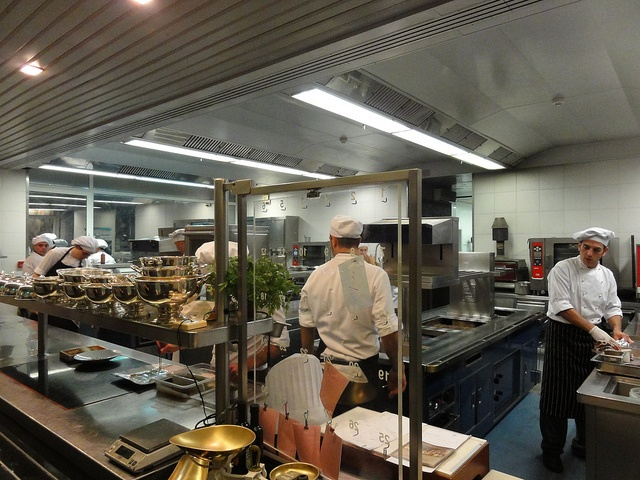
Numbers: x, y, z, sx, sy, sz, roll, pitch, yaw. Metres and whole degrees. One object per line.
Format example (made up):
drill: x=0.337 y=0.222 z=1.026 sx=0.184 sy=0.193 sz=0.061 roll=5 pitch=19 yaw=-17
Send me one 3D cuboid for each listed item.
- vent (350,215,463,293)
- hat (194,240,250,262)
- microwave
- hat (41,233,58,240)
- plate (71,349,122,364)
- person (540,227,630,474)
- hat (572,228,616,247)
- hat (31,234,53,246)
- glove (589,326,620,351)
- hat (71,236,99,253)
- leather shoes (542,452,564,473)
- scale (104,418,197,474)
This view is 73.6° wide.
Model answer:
vent: x=0.598 y=0.073 z=2.896 sx=0.349 sy=0.420 sz=0.613 roll=0 pitch=0 yaw=-42
hat: x=-0.818 y=0.093 z=3.182 sx=0.303 sy=0.107 sz=0.314 roll=1 pitch=-8 yaw=-18
microwave: x=3.621 y=0.349 z=6.277 sx=0.968 sy=0.784 sz=0.579 roll=0 pitch=12 yaw=24
hat: x=-3.776 y=-0.039 z=5.922 sx=0.181 sy=0.066 sz=0.173 roll=-5 pitch=-1 yaw=22
plate: x=-1.714 y=0.886 z=3.237 sx=0.293 sy=0.066 sz=0.265 roll=0 pitch=2 yaw=1
person: x=2.219 y=0.903 z=3.591 sx=0.945 sy=1.997 sz=0.622 roll=-2 pitch=4 yaw=-41
hat: x=2.319 y=-0.036 z=3.643 sx=0.259 sy=0.112 sz=0.248 roll=3 pitch=-3 yaw=-31
hat: x=-3.733 y=0.001 z=5.757 sx=0.218 sy=0.117 sz=0.230 roll=3 pitch=-4 yaw=-30
glove: x=2.163 y=0.743 z=3.249 sx=0.185 sy=0.060 sz=0.134 roll=11 pitch=-3 yaw=2
hat: x=-2.666 y=0.039 z=4.826 sx=0.253 sy=0.138 sz=0.190 roll=14 pitch=3 yaw=5
leather shoes: x=1.937 y=1.833 z=3.540 sx=0.159 sy=0.140 sz=0.151 roll=1 pitch=3 yaw=26
scale: x=-0.813 y=0.983 z=2.044 sx=0.233 sy=0.097 sz=0.310 roll=0 pitch=-3 yaw=42
